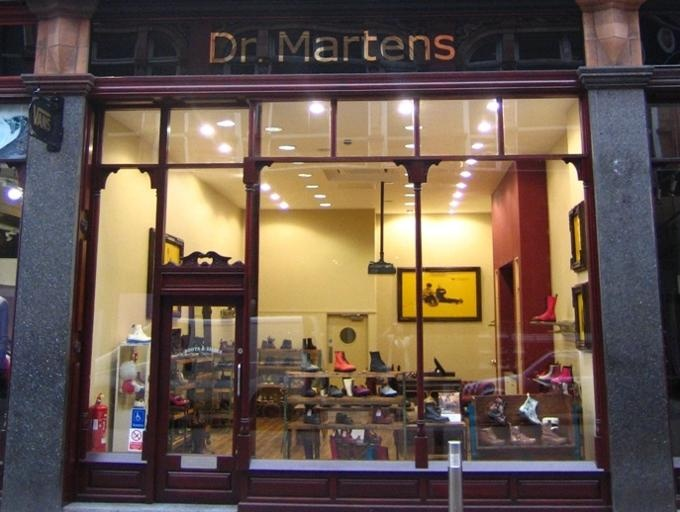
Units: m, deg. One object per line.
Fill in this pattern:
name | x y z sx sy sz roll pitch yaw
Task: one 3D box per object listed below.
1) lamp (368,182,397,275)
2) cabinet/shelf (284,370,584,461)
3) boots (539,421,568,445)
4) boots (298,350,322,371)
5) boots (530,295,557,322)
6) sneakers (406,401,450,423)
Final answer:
lamp | 0.459 -0.299 7.571 0.309 1.047 0.149 -2 -10 7
cabinet/shelf | 0.975 1.732 7.296 3.228 0.964 0.238 -1 -10 2
boots | 2.293 1.939 7.210 0.270 0.268 0.142 -3 -16 11
boots | -0.344 1.178 7.437 0.283 0.271 0.141 0 -9 2
boots | 2.257 0.603 7.595 0.374 0.403 0.182 0 -18 16
sneakers | 0.973 1.718 7.380 0.552 0.236 0.187 1 -9 -2
